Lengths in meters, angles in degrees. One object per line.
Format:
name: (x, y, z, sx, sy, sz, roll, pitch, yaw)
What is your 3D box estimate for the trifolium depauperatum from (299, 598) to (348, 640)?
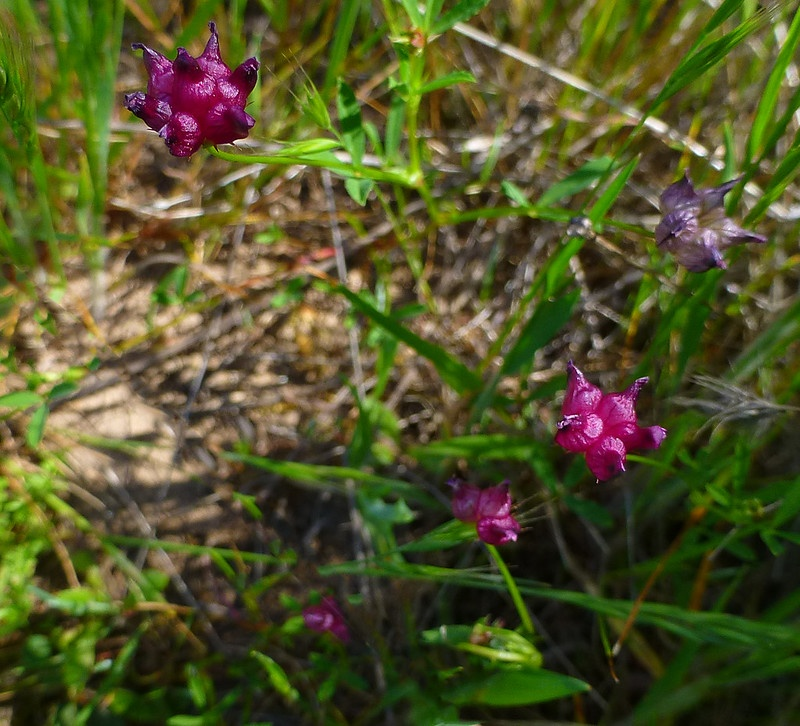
trifolium depauperatum: (-0.160, 0.574, 1.676, 0.116, 0.085, 0.084, 19, 53, -1)

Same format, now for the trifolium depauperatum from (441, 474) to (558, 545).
trifolium depauperatum: (0.169, 0.325, 1.559, 0.140, 0.172, 0.120, 11, 53, -6)
